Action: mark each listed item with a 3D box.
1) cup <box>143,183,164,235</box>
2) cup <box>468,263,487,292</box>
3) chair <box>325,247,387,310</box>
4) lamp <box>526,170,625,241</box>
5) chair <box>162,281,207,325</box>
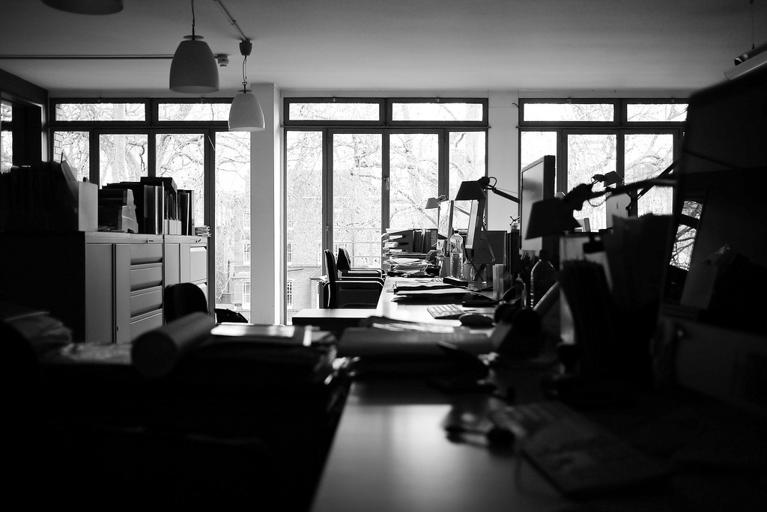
[{"bbox_3d":[-1.693,-0.353,4.430,0.129,0.390,0.197,-7,1,0],"label":"cup"},{"bbox_3d":[0.583,0.122,3.661,0.135,0.218,0.141,0,-5,0],"label":"cup"},{"bbox_3d":[-0.197,0.160,4.573,0.490,0.608,0.428,-1,1,-2],"label":"chair"},{"bbox_3d":[0.658,-0.162,2.107,0.145,0.165,0.498,-10,12,46],"label":"lamp"},{"bbox_3d":[-0.881,0.198,2.649,0.172,0.184,0.280,-8,1,-17],"label":"chair"}]
